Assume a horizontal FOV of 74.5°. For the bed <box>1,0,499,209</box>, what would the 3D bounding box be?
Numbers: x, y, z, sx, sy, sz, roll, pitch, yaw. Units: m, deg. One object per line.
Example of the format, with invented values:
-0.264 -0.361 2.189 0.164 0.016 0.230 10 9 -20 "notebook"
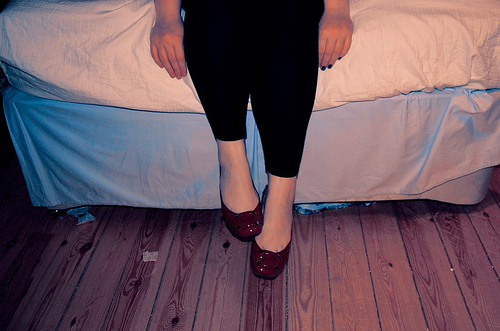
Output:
0.039 -0.097 1.657 1.601 0.565 1.157 -1 66 2 "bed"
